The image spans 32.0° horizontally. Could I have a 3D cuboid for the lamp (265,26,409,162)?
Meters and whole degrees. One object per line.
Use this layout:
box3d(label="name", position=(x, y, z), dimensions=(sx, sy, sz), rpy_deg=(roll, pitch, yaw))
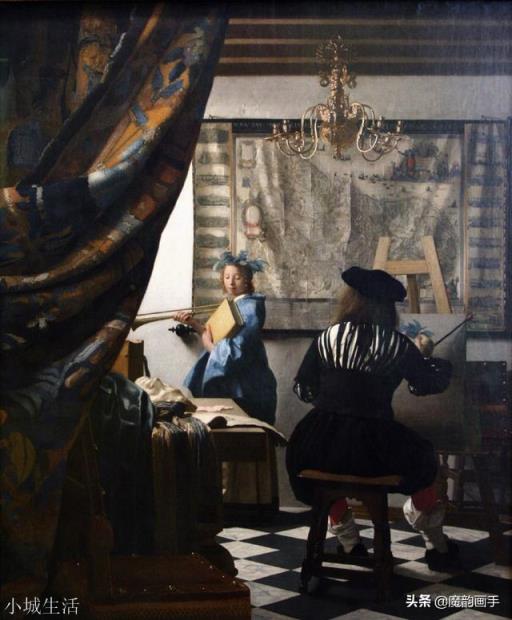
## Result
box3d(label="lamp", position=(0.230, -0.563, 2.387), dimensions=(0.295, 0.314, 0.325), rpy_deg=(-1, -1, -1))

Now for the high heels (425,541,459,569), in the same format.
box3d(label="high heels", position=(0.513, 0.676, 2.444), dimensions=(0.099, 0.076, 0.034), rpy_deg=(-1, 5, -19))

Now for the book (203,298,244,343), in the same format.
box3d(label="book", position=(-0.084, 0.023, 2.496), dimensions=(0.023, 0.113, 0.113), rpy_deg=(19, 43, 1))
